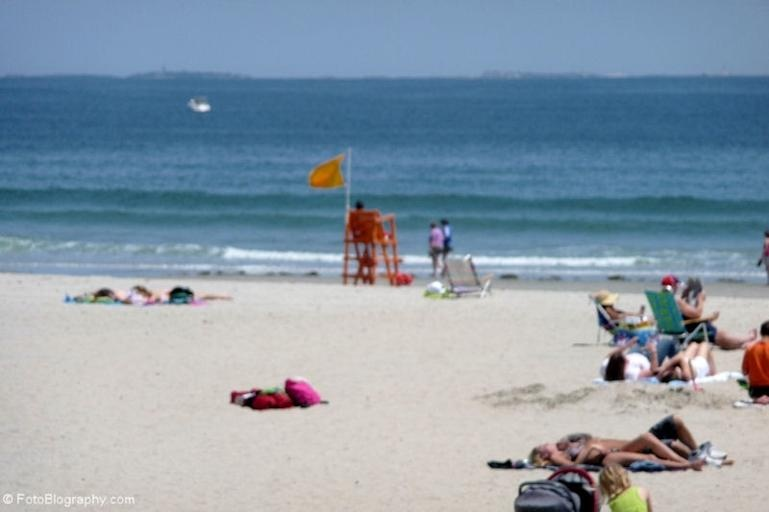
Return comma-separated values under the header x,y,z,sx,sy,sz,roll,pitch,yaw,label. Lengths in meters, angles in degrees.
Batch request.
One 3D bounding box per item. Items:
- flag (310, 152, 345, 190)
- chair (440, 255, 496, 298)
x,y,z,sx,sy,sz,roll,pitch,yaw,label
-2.932,-3.993,92.460,1.771,1.989,1.893,0,14,0,flag
4.240,1.514,90.526,2.176,2.221,2.294,-5,4,-29,chair
